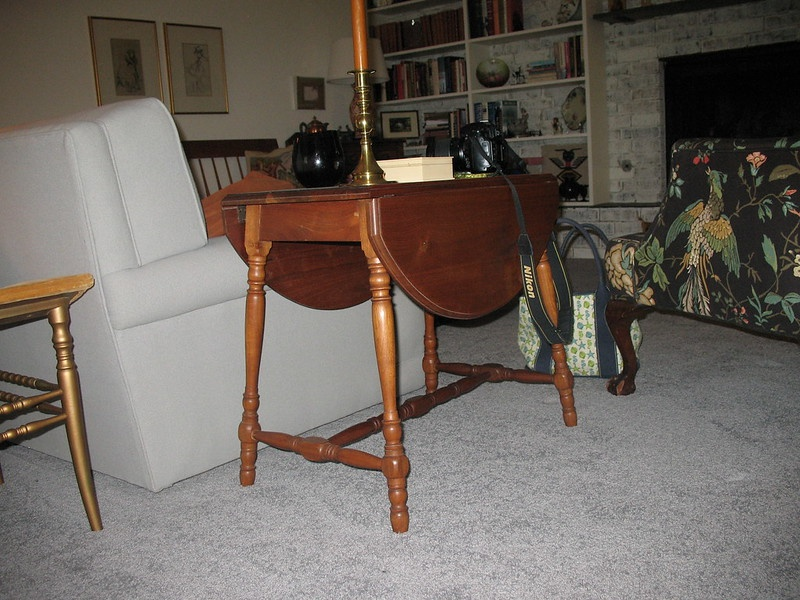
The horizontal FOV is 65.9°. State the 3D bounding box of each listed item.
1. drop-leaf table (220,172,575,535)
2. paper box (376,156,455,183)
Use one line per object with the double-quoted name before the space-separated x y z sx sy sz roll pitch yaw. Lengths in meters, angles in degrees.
"drop-leaf table" 0.049 0.062 2.046 0.676 0.908 1.063 3 11 36
"paper box" 0.049 -0.363 1.749 0.219 0.070 0.243 -5 19 -4
